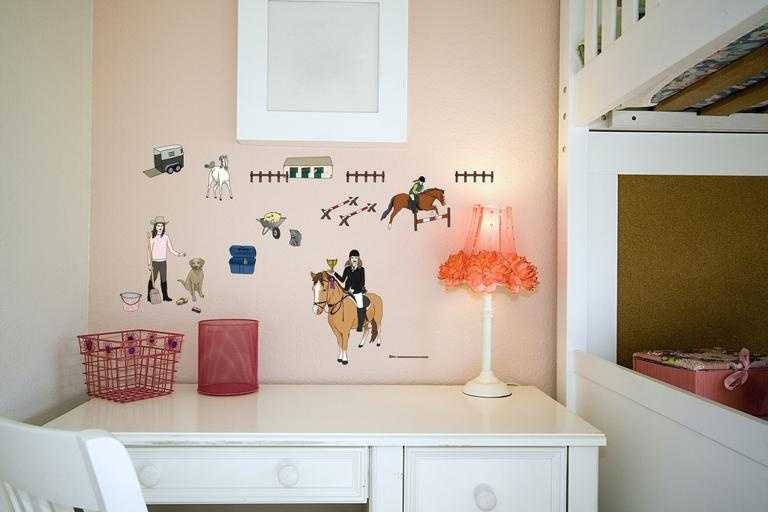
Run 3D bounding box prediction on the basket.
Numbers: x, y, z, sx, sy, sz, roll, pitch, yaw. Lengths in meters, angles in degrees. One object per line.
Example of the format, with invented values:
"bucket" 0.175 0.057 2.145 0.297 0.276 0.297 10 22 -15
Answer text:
"basket" -0.989 0.432 2.310 0.336 0.232 0.281 2 -11 -28
